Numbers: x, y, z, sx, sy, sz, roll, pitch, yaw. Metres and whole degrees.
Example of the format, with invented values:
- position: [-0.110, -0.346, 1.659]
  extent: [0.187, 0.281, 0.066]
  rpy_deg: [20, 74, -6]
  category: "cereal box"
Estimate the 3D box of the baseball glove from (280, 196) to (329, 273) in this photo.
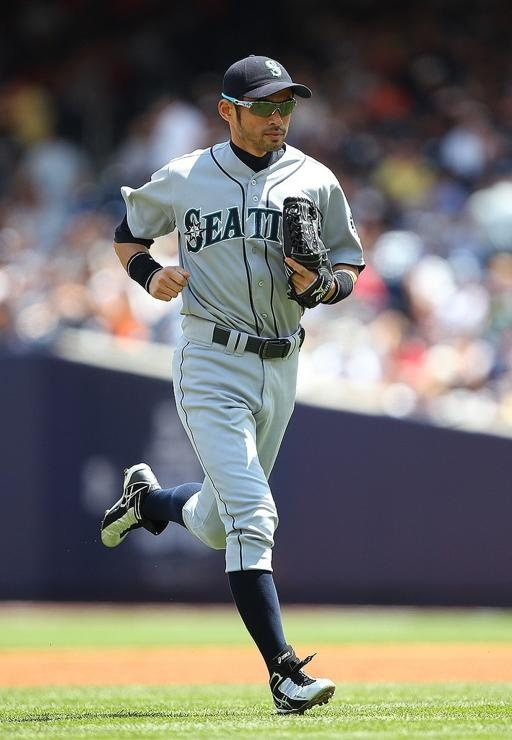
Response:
- position: [0.117, -0.339, 2.354]
  extent: [0.127, 0.178, 0.080]
  rpy_deg: [-6, -9, -34]
  category: "baseball glove"

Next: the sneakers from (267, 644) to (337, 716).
- position: [0.103, 0.696, 2.093]
  extent: [0.080, 0.141, 0.203]
  rpy_deg: [4, -23, -28]
  category: "sneakers"

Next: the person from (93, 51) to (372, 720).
- position: [-0.003, -0.040, 2.490]
  extent: [0.639, 1.619, 1.073]
  rpy_deg: [-7, 5, -12]
  category: "person"

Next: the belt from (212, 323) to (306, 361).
- position: [0.016, -0.076, 2.415]
  extent: [0.224, 0.101, 0.087]
  rpy_deg: [-7, 5, -36]
  category: "belt"

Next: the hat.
- position: [0.025, -0.757, 2.426]
  extent: [0.144, 0.095, 0.215]
  rpy_deg: [-12, 9, -43]
  category: "hat"

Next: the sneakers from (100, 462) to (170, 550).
- position: [-0.408, 0.433, 3.110]
  extent: [0.111, 0.196, 0.304]
  rpy_deg: [12, -33, -39]
  category: "sneakers"
